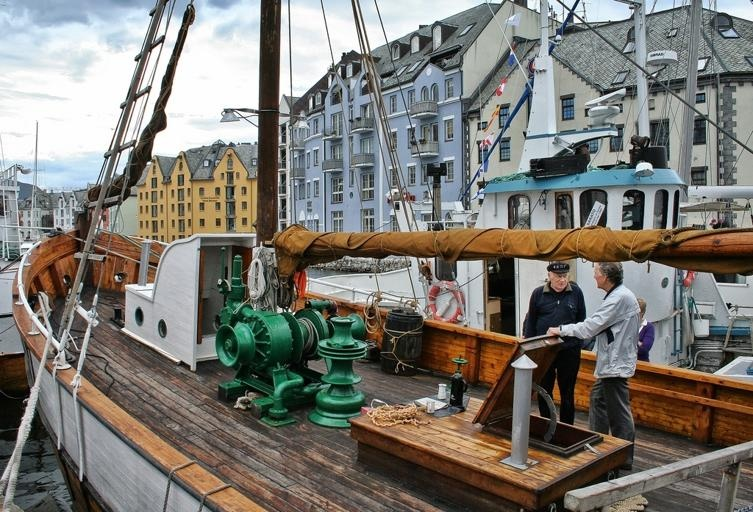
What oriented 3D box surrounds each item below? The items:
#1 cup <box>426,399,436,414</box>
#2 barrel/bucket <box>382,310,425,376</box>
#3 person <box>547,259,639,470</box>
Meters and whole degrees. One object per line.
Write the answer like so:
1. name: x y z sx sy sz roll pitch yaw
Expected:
1. cup: 0.616 1.743 6.675 0.115 0.134 0.116 0 0 0
2. barrel/bucket: 0.318 1.465 9.274 0.705 1.019 0.750 -1 -7 0
3. person: 2.535 1.229 6.542 0.860 2.308 0.749 7 16 26
